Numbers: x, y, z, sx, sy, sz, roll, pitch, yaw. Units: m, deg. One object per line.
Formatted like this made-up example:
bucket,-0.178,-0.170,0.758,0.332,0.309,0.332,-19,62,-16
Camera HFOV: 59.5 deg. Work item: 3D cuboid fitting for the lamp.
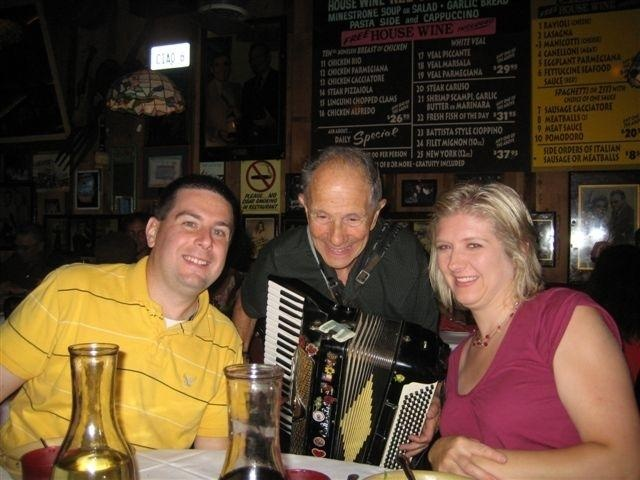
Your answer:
lamp,-1.618,-1.454,5.199,0.734,0.412,0.734,-2,22,-23

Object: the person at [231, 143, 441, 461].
person,0.085,0.725,3.530,1.360,2.473,0.879,3,22,10

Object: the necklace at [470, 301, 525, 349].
necklace,0.902,0.433,2.871,0.188,0.241,0.060,43,-2,3

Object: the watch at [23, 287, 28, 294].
watch,-2.745,0.467,5.229,0.046,0.071,0.083,-6,2,-42
